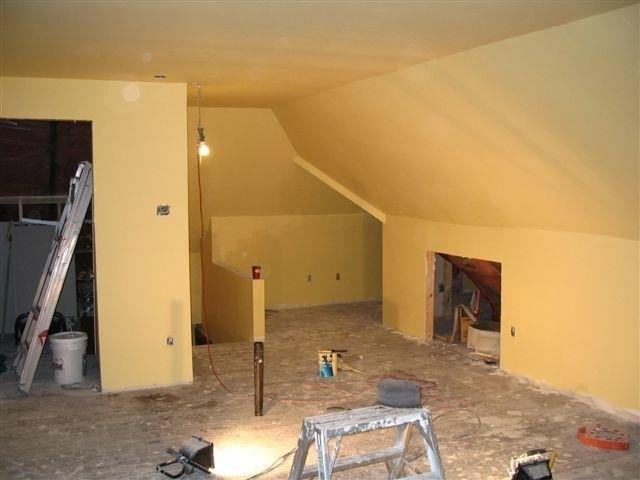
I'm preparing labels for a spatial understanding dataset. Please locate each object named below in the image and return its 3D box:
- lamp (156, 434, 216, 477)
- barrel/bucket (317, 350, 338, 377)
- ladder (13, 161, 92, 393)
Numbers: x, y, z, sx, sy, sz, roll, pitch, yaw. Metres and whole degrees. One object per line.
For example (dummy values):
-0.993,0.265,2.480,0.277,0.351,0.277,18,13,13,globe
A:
-1.281,2.118,5.224,0.312,0.273,0.455,7,3,35,lamp
0.111,1.787,7.799,0.287,0.351,0.311,0,6,0,barrel/bucket
-3.716,0.423,7.468,1.124,3.051,1.169,-4,7,-28,ladder
